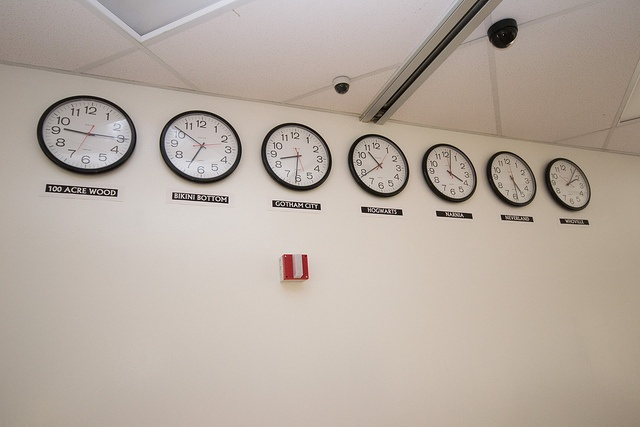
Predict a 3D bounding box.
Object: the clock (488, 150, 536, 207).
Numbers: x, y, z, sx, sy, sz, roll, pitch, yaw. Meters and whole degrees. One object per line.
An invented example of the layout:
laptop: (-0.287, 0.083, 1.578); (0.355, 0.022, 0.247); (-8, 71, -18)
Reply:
clock: (1.890, -0.326, 4.990); (0.432, 0.417, 0.047); (42, -33, -3)

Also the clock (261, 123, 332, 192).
clock: (-0.204, -0.502, 4.447); (0.629, 0.660, 0.065); (-7, -19, -21)

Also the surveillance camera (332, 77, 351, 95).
surveillance camera: (0.185, -1.097, 4.334); (0.114, 0.109, 0.118); (4, -27, -2)

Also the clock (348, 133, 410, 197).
clock: (0.515, -0.427, 4.605); (0.432, 0.434, 0.044); (44, -23, 1)

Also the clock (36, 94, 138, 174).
clock: (-1.854, -0.629, 4.004); (0.716, 0.748, 0.049); (4, -29, -21)

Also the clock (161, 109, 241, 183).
clock: (-1.027, -0.545, 4.195); (0.509, 0.533, 0.047); (16, -22, -17)

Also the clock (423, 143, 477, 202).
clock: (1.221, -0.373, 4.801); (0.551, 0.551, 0.041); (-6, -22, -26)

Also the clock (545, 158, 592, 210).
clock: (2.571, -0.306, 5.203); (0.550, 0.558, 0.051); (10, -21, -17)

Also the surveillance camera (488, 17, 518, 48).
surveillance camera: (1.456, -1.432, 3.962); (0.237, 0.217, 0.088); (-26, 21, 7)
